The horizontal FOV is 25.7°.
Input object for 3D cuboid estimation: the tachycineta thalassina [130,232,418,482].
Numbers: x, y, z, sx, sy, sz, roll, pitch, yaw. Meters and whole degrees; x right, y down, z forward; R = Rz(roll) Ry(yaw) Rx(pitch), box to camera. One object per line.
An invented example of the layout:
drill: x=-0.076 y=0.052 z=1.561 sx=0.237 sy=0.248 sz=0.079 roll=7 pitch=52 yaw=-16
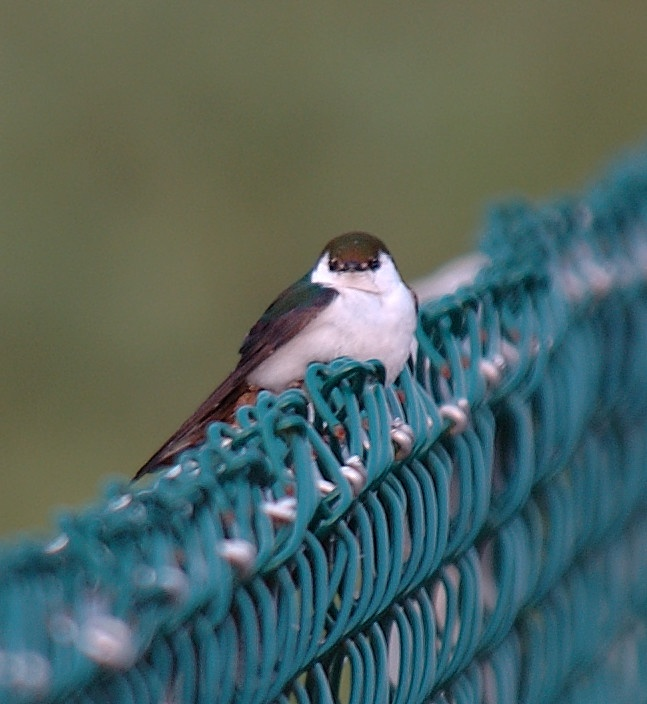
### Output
tachycineta thalassina: x=-0.044 y=-0.003 z=1.411 sx=0.264 sy=0.197 sz=0.147 roll=-7 pitch=-11 yaw=41
